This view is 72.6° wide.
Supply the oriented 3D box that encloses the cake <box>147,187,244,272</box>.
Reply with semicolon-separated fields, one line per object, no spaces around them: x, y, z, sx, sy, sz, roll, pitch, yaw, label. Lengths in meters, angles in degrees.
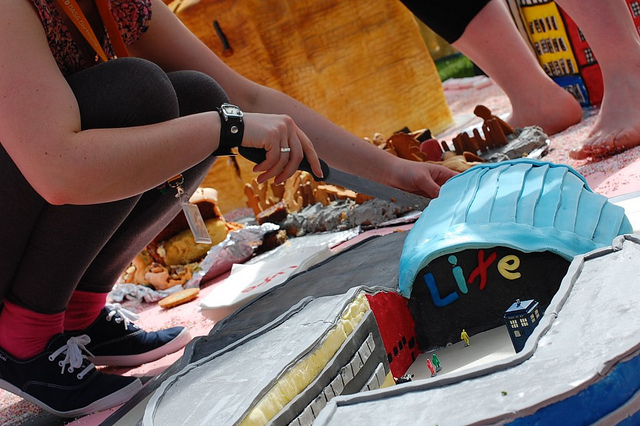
-0.701;0.121;2.410;0.397;0.200;0.516;15;48;47;cake
